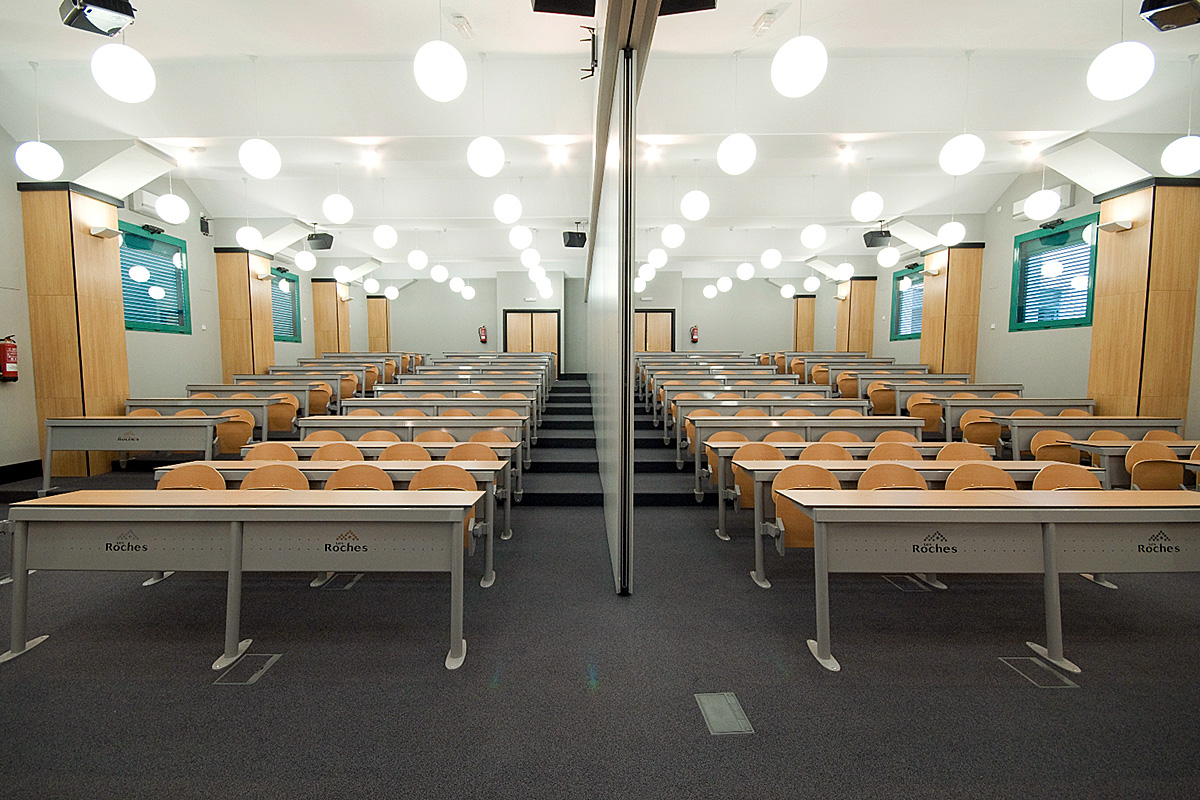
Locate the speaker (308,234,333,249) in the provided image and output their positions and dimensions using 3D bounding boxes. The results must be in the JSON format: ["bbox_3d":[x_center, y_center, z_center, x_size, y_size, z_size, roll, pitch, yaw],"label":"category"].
[{"bbox_3d":[-5.344,-3.021,14.933,0.418,0.201,0.302,-4,13,-8],"label":"speaker"}]

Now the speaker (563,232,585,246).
[{"bbox_3d":[-0.509,-3.176,15.478,0.528,0.356,0.283,1,20,3],"label":"speaker"}]

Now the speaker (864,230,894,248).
[{"bbox_3d":[5.163,-3.017,14.815,0.458,0.287,0.450,-1,3,-3],"label":"speaker"}]
